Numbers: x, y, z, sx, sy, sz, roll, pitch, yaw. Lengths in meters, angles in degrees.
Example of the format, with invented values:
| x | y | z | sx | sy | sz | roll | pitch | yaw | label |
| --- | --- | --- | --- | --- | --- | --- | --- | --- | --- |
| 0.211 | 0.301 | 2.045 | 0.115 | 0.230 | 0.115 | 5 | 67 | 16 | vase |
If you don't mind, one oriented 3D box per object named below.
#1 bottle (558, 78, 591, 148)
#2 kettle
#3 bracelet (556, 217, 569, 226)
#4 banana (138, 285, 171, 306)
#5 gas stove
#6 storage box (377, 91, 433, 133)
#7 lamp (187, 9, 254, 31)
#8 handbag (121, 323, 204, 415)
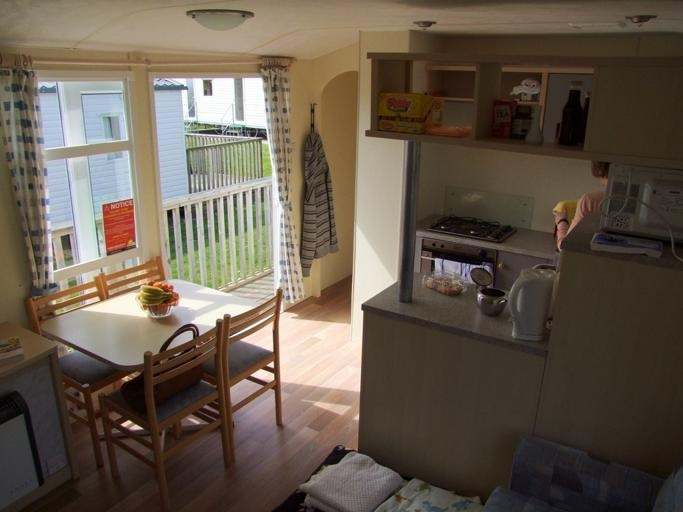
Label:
| x | y | z | sx | sy | sz | roll | pitch | yaw | label |
| --- | --- | --- | --- | --- | --- | --- | --- | --- | --- |
| 1.064 | -0.655 | 2.298 | 0.120 | 0.289 | 0.286 | 5 | 17 | 22 | bottle |
| 0.924 | 0.231 | 2.427 | 0.190 | 0.324 | 0.220 | 5 | 18 | 24 | kettle |
| 1.774 | -0.282 | 3.980 | 0.065 | 0.049 | 0.064 | -4 | 24 | 3 | bracelet |
| -1.319 | 0.281 | 3.521 | 0.172 | 0.130 | 0.083 | 2 | 3 | -2 | banana |
| 1.211 | -0.199 | 4.639 | 0.765 | 0.250 | 0.659 | 5 | 17 | 23 | gas stove |
| 0.321 | -0.742 | 2.584 | 0.237 | 0.150 | 0.241 | 14 | 36 | 23 | storage box |
| -0.724 | -1.413 | 2.970 | 0.396 | 0.080 | 0.197 | -3 | 16 | -4 | lamp |
| -1.117 | 0.683 | 3.164 | 0.540 | 0.525 | 0.450 | -10 | 18 | -28 | handbag |
